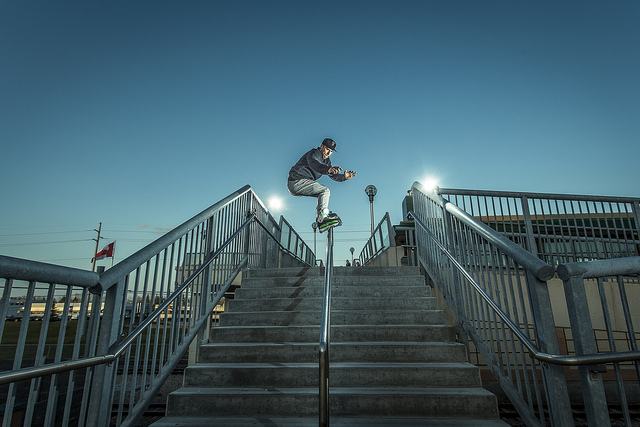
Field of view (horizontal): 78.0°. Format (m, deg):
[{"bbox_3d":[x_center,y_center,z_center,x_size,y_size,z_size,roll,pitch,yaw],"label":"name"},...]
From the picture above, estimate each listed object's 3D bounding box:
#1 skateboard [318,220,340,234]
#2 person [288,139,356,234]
[{"bbox_3d":[0.197,0.256,7.834,0.364,0.241,0.597,0,-12,-3],"label":"skateboard"},{"bbox_3d":[-0.017,-0.620,8.237,0.739,1.998,1.210,9,-15,-38],"label":"person"}]
